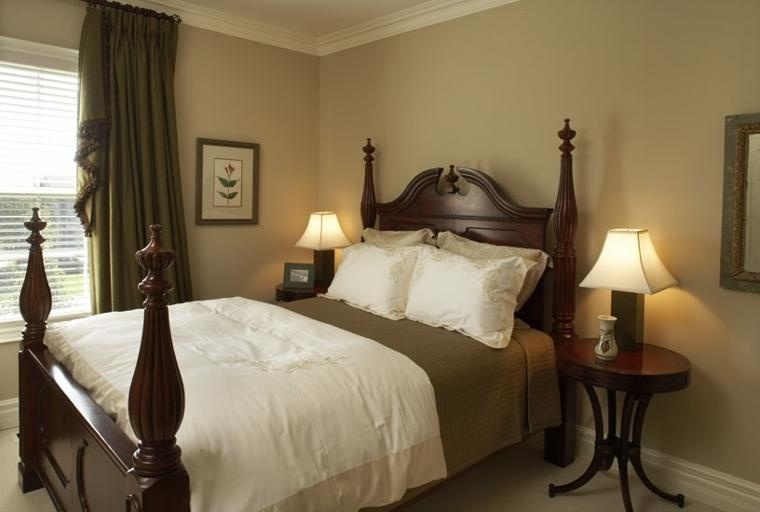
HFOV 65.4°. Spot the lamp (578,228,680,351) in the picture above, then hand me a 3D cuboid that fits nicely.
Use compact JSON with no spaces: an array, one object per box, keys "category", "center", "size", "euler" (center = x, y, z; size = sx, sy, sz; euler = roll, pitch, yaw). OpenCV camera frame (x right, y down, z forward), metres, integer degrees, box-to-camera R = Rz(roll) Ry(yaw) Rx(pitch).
[{"category":"lamp","center":[1.688,0.222,3.956],"size":[0.605,0.792,0.340],"euler":[-3,8,-23]}]

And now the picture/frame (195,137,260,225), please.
[{"category":"picture/frame","center":[-1.423,-0.711,5.453],"size":[0.758,1.113,0.052],"euler":[-1,5,-36]}]

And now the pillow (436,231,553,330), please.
[{"category":"pillow","center":[0.815,0.159,4.479],"size":[0.561,0.203,0.633],"euler":[22,-1,-31]}]

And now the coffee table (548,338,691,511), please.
[{"category":"coffee table","center":[1.632,1.141,4.169],"size":[0.938,1.168,0.960],"euler":[-4,9,-37]}]

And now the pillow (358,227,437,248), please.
[{"category":"pillow","center":[0.164,-0.159,4.989],"size":[0.271,0.111,0.329],"euler":[2,8,-38]}]

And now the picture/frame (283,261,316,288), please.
[{"category":"picture/frame","center":[-0.742,0.183,5.500],"size":[0.226,0.220,0.025],"euler":[0,-7,8]}]
